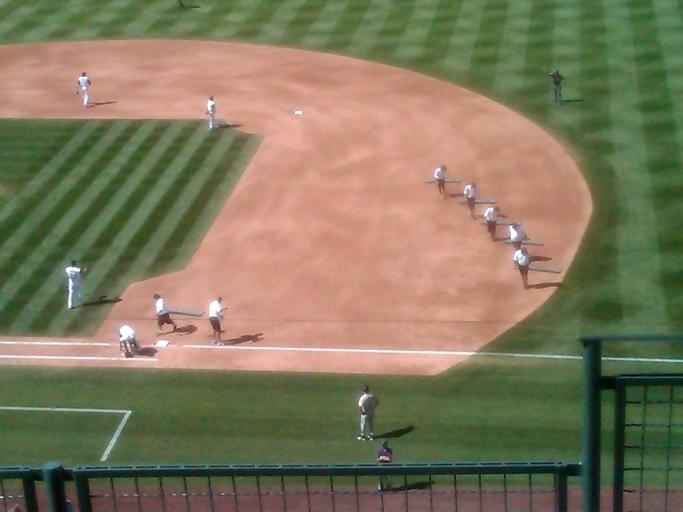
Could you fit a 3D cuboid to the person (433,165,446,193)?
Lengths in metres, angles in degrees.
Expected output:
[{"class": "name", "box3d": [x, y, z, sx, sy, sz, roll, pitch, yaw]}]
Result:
[{"class": "person", "box3d": [4.373, -3.286, 80.493, 0.561, 1.253, 1.633, -3, -3, 2]}]

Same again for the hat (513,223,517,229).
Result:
[{"class": "hat", "box3d": [7.380, -1.180, 77.047, 0.230, 0.202, 0.436, -2, -3, 5]}]

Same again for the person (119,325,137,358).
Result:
[{"class": "person", "box3d": [-8.756, 3.680, 73.694, 0.826, 1.124, 0.909, -8, 31, -5]}]
